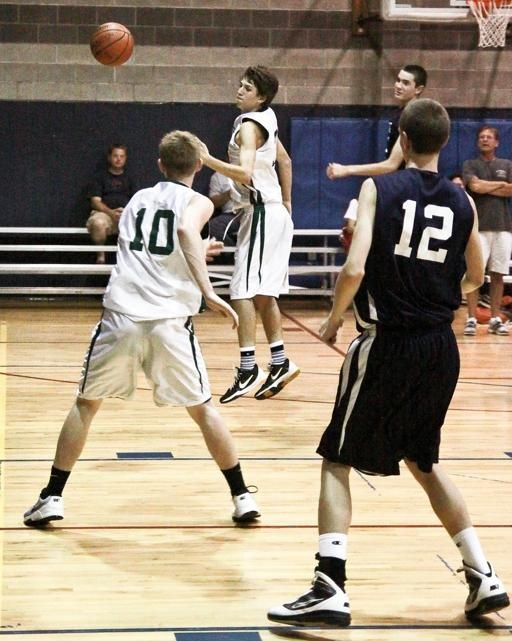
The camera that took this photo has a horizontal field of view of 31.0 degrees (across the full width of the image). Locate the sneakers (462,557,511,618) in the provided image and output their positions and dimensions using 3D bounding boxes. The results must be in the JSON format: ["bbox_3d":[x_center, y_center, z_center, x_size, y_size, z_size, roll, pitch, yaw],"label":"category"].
[{"bbox_3d":[0.606,0.717,2.454,0.131,0.168,0.134,11,14,15],"label":"sneakers"}]

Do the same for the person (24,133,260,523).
[{"bbox_3d":[-0.326,0.038,3.084,0.778,1.306,0.459,5,15,-9],"label":"person"}]

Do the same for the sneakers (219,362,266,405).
[{"bbox_3d":[-0.082,0.316,4.708,0.293,0.122,0.098,-31,4,14],"label":"sneakers"}]

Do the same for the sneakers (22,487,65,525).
[{"bbox_3d":[-0.685,0.619,2.975,0.065,0.069,0.167,15,-22,-43],"label":"sneakers"}]

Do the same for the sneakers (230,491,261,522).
[{"bbox_3d":[-0.036,0.627,3.058,0.059,0.061,0.144,-5,-12,-12],"label":"sneakers"}]

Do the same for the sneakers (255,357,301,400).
[{"bbox_3d":[0.107,0.289,4.809,0.305,0.141,0.112,-37,-15,25],"label":"sneakers"}]

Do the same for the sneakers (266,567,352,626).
[{"bbox_3d":[0.142,0.710,2.364,0.229,0.129,0.075,-7,-24,24],"label":"sneakers"}]

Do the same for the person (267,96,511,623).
[{"bbox_3d":[0.403,0.101,2.432,0.592,1.339,0.570,7,14,-3],"label":"person"}]
